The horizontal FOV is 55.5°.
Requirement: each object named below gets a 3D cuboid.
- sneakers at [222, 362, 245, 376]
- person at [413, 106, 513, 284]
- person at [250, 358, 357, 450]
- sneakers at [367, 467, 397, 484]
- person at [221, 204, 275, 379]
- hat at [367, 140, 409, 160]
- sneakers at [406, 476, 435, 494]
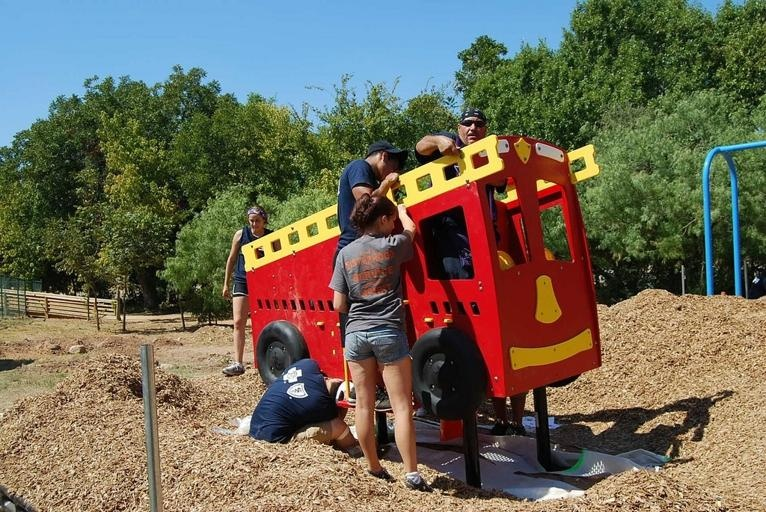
[{"bbox_3d":[-2.629,1.965,12.782,0.367,0.185,0.175,2,-2,-25],"label":"sneakers"},{"bbox_3d":[1.010,-0.886,9.964,0.930,2.292,1.204,-6,-1,35],"label":"person"},{"bbox_3d":[-1.112,2.038,9.859,1.301,0.987,1.022,-10,35,-27],"label":"person"},{"bbox_3d":[-0.024,2.735,9.207,0.384,0.170,0.146,23,0,-5],"label":"sneakers"},{"bbox_3d":[-2.424,0.576,12.646,0.846,2.795,1.500,-5,-1,-24],"label":"person"},{"bbox_3d":[0.074,-1.522,10.035,0.434,0.189,0.292,5,-1,2],"label":"hat"},{"bbox_3d":[0.428,2.796,9.067,0.394,0.189,0.155,25,-3,-7],"label":"sneakers"}]
